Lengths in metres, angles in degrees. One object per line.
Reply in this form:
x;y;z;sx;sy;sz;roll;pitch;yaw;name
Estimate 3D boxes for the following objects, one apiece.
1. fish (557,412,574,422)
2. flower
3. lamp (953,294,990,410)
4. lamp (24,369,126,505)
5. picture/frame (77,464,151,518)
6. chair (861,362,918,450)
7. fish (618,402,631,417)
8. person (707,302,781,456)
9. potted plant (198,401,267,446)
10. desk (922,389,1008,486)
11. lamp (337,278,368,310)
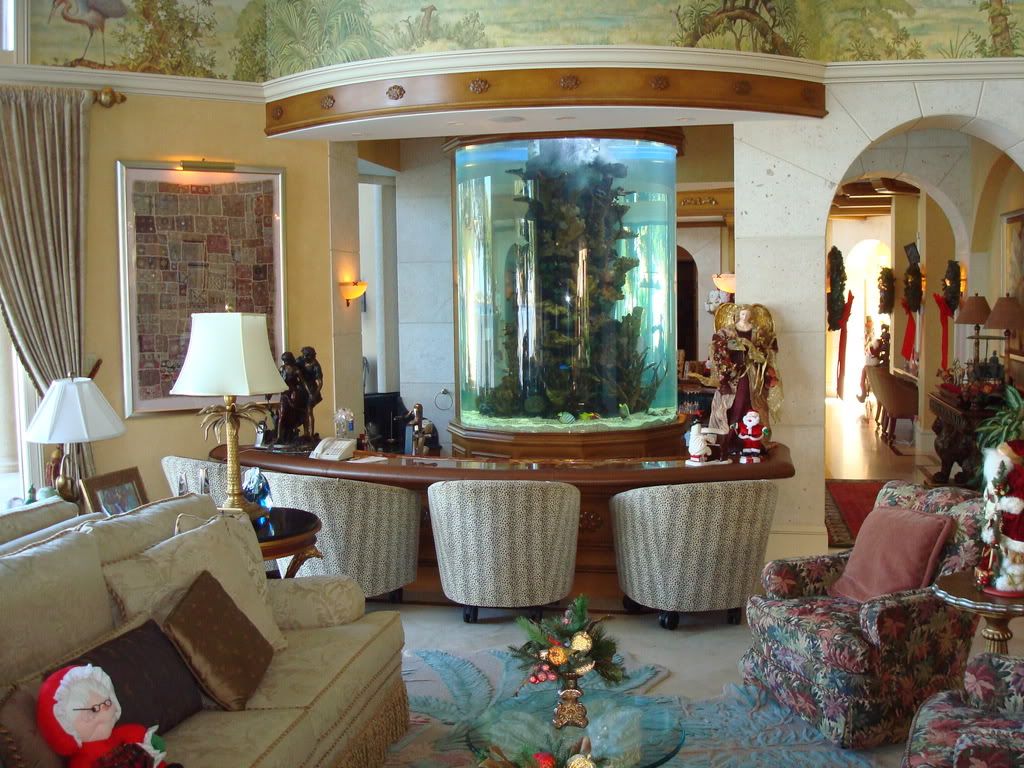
0.444;0.275;6.408;0.138;0.082;0.014;1;8;3;fish
0.225;0.930;2.947;0.402;0.355;0.413;-2;-12;29;flower
4.974;-0.435;8.475;0.321;1.018;0.321;0;14;30;lamp
-2.598;0.316;4.658;0.526;0.701;0.490;0;8;-39;lamp
-2.419;0.715;4.870;0.433;0.310;0.018;-15;1;19;picture/frame
5.348;0.288;11.166;0.679;1.098;1.598;5;9;25;chair
0.916;0.216;6.422;0.070;0.107;0.040;-2;5;-13;fish
1.661;-0.055;5.717;0.457;1.008;0.833;5;10;29;person
-1.920;0.269;5.409;0.392;0.247;0.398;-2;3;-8;potted plant
3.815;0.458;6.683;0.494;0.597;0.972;-1;4;7;desk
-1.483;-0.831;7.289;0.223;0.264;0.338;-2;9;-15;lamp
